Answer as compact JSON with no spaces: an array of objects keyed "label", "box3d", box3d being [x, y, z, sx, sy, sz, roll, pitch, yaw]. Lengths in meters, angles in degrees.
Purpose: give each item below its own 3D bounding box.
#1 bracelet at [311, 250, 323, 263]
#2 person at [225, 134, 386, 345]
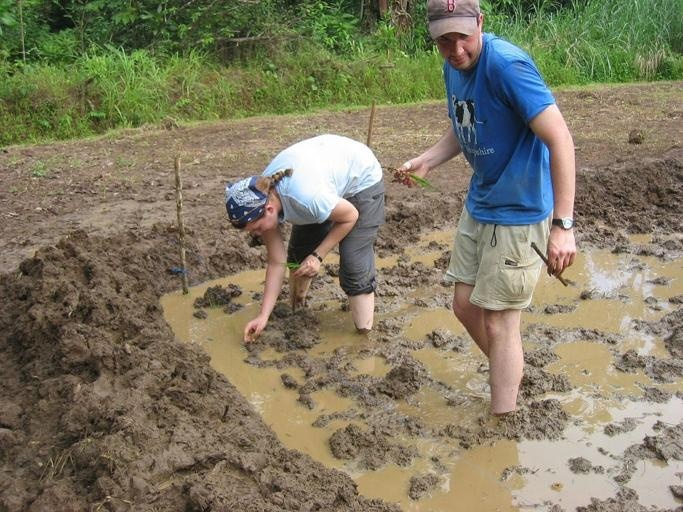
[{"label":"bracelet","box3d":[-0.225,0.007,7.120,0.035,0.094,0.093,-45,55,-3]},{"label":"person","box3d":[-0.335,-0.062,7.611,1.405,1.737,0.948,-26,44,-28]}]
